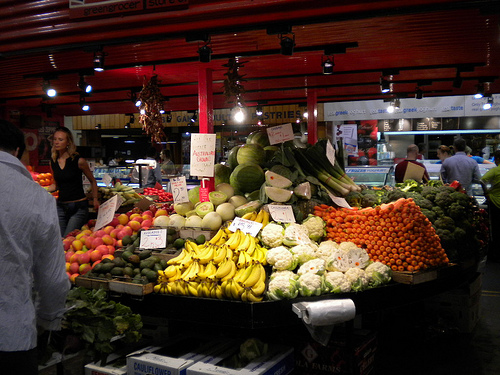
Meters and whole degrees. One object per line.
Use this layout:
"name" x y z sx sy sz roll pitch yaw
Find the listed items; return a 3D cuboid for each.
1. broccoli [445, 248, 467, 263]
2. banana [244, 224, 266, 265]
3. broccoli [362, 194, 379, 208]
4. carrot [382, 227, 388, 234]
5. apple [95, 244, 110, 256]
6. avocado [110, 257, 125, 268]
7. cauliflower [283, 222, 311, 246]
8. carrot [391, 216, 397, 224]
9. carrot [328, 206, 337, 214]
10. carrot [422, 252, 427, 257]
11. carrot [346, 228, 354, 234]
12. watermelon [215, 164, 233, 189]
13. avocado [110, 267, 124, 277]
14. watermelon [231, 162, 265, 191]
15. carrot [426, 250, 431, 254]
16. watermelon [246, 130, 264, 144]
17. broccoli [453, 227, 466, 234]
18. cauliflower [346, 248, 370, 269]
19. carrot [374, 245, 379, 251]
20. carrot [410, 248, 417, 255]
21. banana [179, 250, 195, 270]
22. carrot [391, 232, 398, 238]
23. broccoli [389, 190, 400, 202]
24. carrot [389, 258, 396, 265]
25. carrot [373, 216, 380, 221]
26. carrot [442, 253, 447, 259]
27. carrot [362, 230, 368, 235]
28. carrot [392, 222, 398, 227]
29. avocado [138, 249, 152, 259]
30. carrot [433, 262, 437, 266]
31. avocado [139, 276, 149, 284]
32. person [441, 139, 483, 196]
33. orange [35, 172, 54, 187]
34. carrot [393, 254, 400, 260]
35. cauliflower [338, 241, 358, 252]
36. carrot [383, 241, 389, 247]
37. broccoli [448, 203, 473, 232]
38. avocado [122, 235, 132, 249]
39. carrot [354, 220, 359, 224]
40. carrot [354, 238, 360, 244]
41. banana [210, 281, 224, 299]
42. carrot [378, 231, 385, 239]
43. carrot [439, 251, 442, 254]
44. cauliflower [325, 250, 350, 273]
"broccoli" 1.935 0.645 3.479 0.134 0.067 0.178 -3 3 -13
"banana" 0.039 0.481 3.121 0.098 0.144 0.366 3 35 -15
"broccoli" 1.293 0.138 3.991 0.116 0.089 0.156 -21 -2 27
"carrot" 1.132 0.360 3.108 0.037 0.039 0.022 -10 -1 23
"apple" -1.400 0.576 3.501 0.104 0.087 0.091 23 28 19
"avocado" -1.148 0.644 3.200 0.088 0.051 0.074 20 3 -19
"cauliflower" 0.403 0.419 3.161 0.183 0.067 0.189 23 39 -2
"carrot" 1.199 0.268 3.079 0.031 0.032 0.038 -11 23 -10
"carrot" 0.784 0.219 3.545 0.055 0.056 0.181 0 -1 10
"carrot" 1.434 0.551 3.030 0.023 0.029 0.016 5 9 -2
"carrot" 0.883 0.387 3.287 0.043 0.035 0.033 -1 9 -14
"watermelon" -0.292 -0.124 4.178 0.215 0.264 0.215 -2 15 8
"avocado" -1.113 0.710 3.094 0.079 0.064 0.061 -19 -10 4
"watermelon" -0.021 -0.105 3.837 0.308 0.257 0.246 -2 2 -27
"carrot" 1.476 0.535 3.058 0.028 0.017 0.029 7 -16 -29
"watermelon" 0.036 -0.576 4.457 0.155 0.096 0.162 -25 1 -41
"broccoli" 2.008 0.411 3.546 0.059 0.042 0.078 13 9 33
"cauliflower" 0.882 0.574 2.999 0.158 0.162 0.043 -7 4 -22
"carrot" 1.055 0.507 3.087 0.033 0.035 0.019 12 -2 30
"carrot" 1.334 0.525 3.010 0.033 0.024 0.041 -23 33 -30
"banana" -0.517 0.611 3.087 0.067 0.056 0.193 -41 14 27
"carrot" 1.197 0.400 3.066 0.049 0.040 0.011 -3 3 16
"broccoli" 1.471 0.093 3.679 0.119 0.080 0.135 -4 4 -12
"carrot" 1.164 0.607 3.015 0.039 0.041 0.022 -10 -1 18
"carrot" 1.086 0.268 3.163 0.052 0.039 0.013 -1 4 39
"carrot" 1.680 0.597 3.199 0.046 0.023 0.048 -9 -21 21
"carrot" 0.990 0.393 3.193 0.043 0.036 0.019 -1 4 33
"carrot" 1.203 0.311 3.072 0.030 0.030 0.031 3 38 -19
"avocado" -0.931 0.591 3.292 0.082 0.050 0.066 -16 26 10
"carrot" 1.552 0.643 3.103 0.060 0.033 0.004 -7 5 -42
"avocado" -0.850 0.750 2.984 0.039 0.050 0.046 -3 39 -9
"person" 4.282 -0.400 7.478 0.659 1.134 0.494 -5 4 -22
"orange" -3.137 -0.118 5.649 0.196 0.104 0.199 8 10 0
"carrot" 1.191 0.571 3.013 0.038 0.021 0.039 -1 0 41
"cauliflower" 0.820 0.500 3.134 0.087 0.042 0.097 3 5 28
"carrot" 1.129 0.471 3.072 0.037 0.039 0.038 0 -3 -10
"broccoli" 2.073 0.292 3.650 0.127 0.304 0.192 -27 2 38
"avocado" -1.183 0.532 3.590 0.079 0.098 0.082 0 -41 -11
"carrot" 0.944 0.308 3.274 0.037 0.029 0.047 0 2 -4
"carrot" 0.927 0.466 3.207 0.039 0.047 0.039 31 -52 -26
"banana" -0.250 0.780 2.797 0.072 0.119 0.077 -30 -19 10
"carrot" 1.105 0.401 3.112 0.057 0.058 0.017 -4 -4 19
"carrot" 1.622 0.559 3.150 0.021 0.015 0.021 -14 8 -22
"cauliflower" 0.697 0.596 2.921 0.155 0.189 0.074 13 -30 1
